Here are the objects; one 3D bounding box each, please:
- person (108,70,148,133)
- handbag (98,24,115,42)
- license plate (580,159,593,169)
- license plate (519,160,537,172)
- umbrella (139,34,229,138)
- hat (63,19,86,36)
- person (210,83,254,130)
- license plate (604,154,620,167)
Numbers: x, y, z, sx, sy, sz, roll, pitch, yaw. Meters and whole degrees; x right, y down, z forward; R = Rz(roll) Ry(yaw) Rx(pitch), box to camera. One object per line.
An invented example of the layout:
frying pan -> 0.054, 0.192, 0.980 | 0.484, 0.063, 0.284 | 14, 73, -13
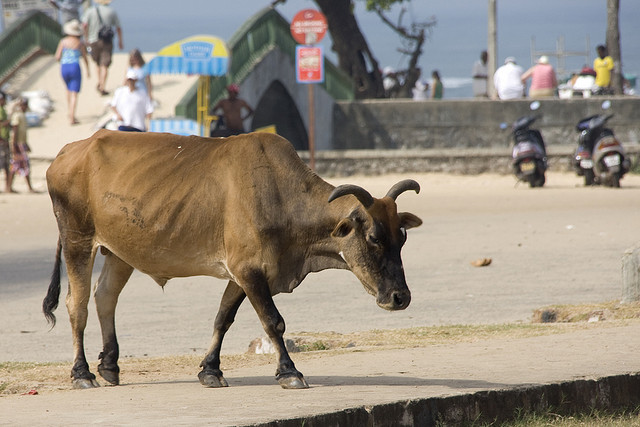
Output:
person -> -4.261, -2.544, 41.562 | 0.733, 1.312, 0.779 | -3, 6, -24
handbag -> -5.246, -4.499, 46.046 | 0.260, 0.434, 0.512 | 2, 6, 35
license plate -> 6.205, -1.194, 43.482 | 0.218, 0.222, 0.056 | 5, 14, 22
license plate -> 4.880, -1.155, 43.876 | 0.265, 0.287, 0.271 | 0, 3, 9
umbrella -> -3.016, -3.160, 44.486 | 2.179, 2.629, 1.943 | -1, 10, -2
hat -> -6.010, -4.584, 45.595 | 0.521, 0.385, 0.949 | -2, 6, -7
person -> -2.187, -2.637, 44.968 | 0.916, 1.960, 0.635 | 3, 27, 10
license plate -> 6.685, -1.241, 42.798 | 0.403, 0.293, 0.212 | 2, 6, 32
